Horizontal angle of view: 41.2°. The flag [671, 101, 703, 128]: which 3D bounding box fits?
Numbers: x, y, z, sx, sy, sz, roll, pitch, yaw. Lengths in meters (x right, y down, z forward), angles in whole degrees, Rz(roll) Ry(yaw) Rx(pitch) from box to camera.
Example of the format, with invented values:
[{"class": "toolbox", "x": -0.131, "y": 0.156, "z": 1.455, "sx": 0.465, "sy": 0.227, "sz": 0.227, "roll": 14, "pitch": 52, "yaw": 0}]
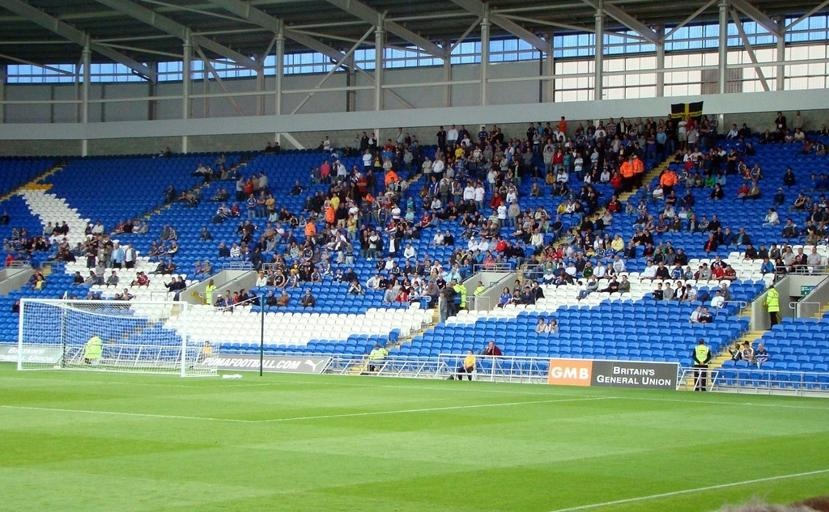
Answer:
[{"class": "flag", "x": 12.907, "y": -6.620, "z": 51.962, "sx": 1.313, "sy": 1.031, "sz": 0.105, "roll": 4, "pitch": 2, "yaw": 25}]
